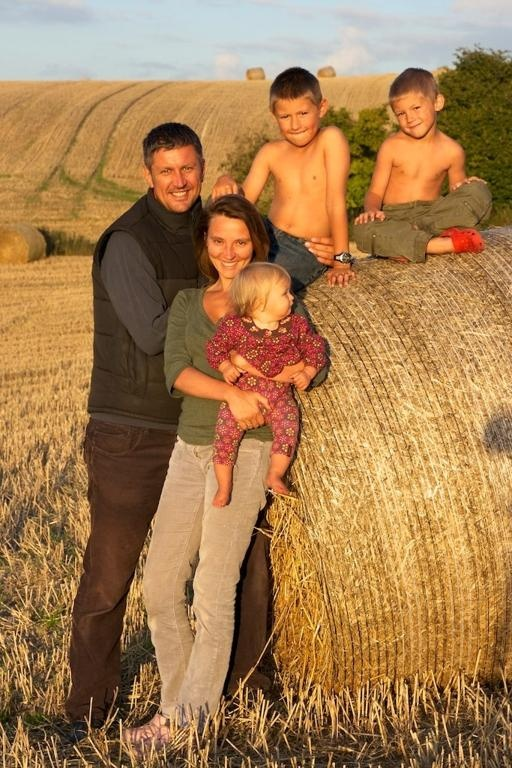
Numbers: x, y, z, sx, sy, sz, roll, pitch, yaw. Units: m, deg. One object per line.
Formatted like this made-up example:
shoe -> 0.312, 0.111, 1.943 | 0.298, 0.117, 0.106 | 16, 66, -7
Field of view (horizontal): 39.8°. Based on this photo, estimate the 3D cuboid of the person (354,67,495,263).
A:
person -> 0.868, -1.134, 3.693 | 0.699, 0.935, 0.779 | -9, 21, -12

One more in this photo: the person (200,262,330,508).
person -> 0.041, 0.022, 2.650 | 0.430, 0.876, 0.399 | 2, -4, 0

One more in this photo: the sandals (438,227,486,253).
sandals -> 0.973, -0.672, 3.302 | 0.095, 0.097, 0.166 | -17, 16, -41

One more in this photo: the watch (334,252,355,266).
watch -> 0.420, -0.597, 3.353 | 0.083, 0.060, 0.085 | 0, 24, -6
